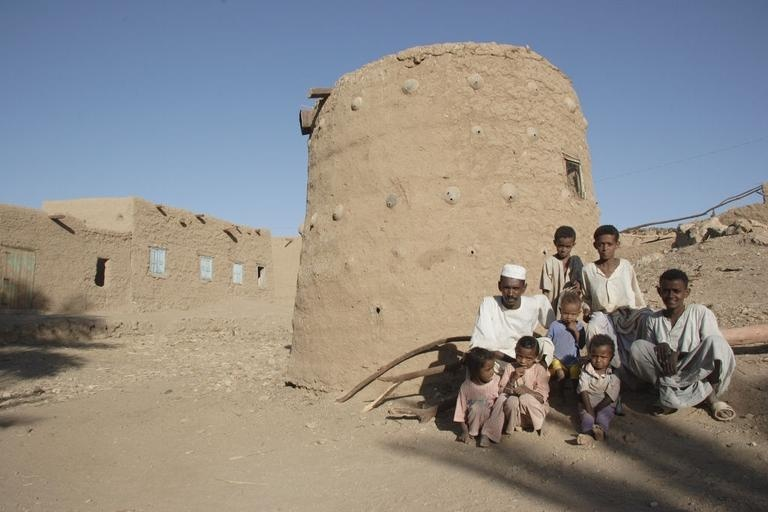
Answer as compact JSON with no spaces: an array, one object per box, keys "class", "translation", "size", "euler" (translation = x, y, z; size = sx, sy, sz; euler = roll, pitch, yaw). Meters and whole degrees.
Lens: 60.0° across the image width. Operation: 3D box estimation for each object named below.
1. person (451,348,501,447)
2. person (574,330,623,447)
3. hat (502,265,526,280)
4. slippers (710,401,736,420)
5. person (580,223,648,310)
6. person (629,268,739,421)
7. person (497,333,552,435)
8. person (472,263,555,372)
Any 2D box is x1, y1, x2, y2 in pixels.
[{"class":"person","translation":[1.040,1.567,7.317],"size":[0.534,1.018,0.433],"euler":[-5,12,7]},{"class":"person","translation":[2.303,1.393,7.116],"size":[0.484,0.929,1.035],"euler":[3,11,18]},{"class":"hat","translation":[1.509,0.196,7.664],"size":[0.228,0.104,0.205],"euler":[0,0,-1]},{"class":"slippers","translation":[3.577,1.648,6.996],"size":[0.243,0.184,0.127],"euler":[-1,13,22]},{"class":"person","translation":[2.688,0.159,7.824],"size":[0.684,1.026,0.432],"euler":[-3,13,15]},{"class":"person","translation":[3.222,0.948,7.206],"size":[1.022,1.531,0.628],"euler":[-1,13,23]},{"class":"person","translation":[1.545,1.444,7.290],"size":[0.521,1.036,0.445],"euler":[-4,12,10]},{"class":"person","translation":[1.522,0.771,7.759],"size":[1.435,1.133,0.722],"euler":[-1,7,-1]}]
